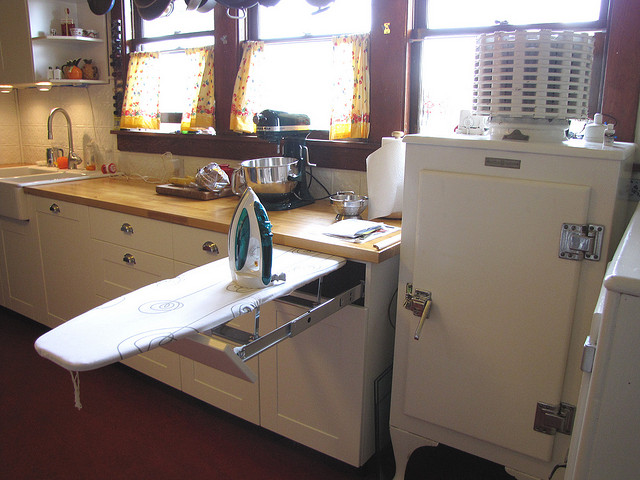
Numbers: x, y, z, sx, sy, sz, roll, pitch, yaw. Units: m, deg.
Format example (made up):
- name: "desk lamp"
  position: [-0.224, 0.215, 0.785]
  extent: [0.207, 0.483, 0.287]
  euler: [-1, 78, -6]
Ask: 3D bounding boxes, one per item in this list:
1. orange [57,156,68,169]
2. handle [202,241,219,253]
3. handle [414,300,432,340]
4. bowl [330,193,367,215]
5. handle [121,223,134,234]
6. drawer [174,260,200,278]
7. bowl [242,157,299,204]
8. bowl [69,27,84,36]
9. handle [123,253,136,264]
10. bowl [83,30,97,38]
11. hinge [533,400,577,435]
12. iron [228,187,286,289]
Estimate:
- name: "orange"
  position: [-2.014, -0.610, 3.786]
  extent: [0.080, 0.080, 0.083]
  euler: [1, 8, -1]
- name: "handle"
  position: [-0.523, 0.035, 2.319]
  extent: [0.088, 0.048, 0.027]
  euler: [16, 18, 26]
- name: "handle"
  position: [0.395, 0.291, 1.825]
  extent: [0.040, 0.026, 0.210]
  euler: [1, 46, 36]
- name: "bowl"
  position: [0.150, -0.194, 2.450]
  extent: [0.175, 0.089, 0.268]
  euler: [4, 18, 7]
- name: "handle"
  position: [-1.054, -0.067, 2.642]
  extent: [0.050, 0.059, 0.015]
  euler: [8, 13, 25]
- name: "drawer"
  position: [-0.691, 0.155, 2.420]
  extent: [0.150, 0.086, 0.146]
  euler: [2, -6, 24]
- name: "bowl"
  position: [-0.260, -0.326, 2.588]
  extent: [0.313, 0.220, 0.282]
  euler: [-1, 20, 10]
- name: "bowl"
  position: [-1.780, -1.535, 3.541]
  extent: [0.083, 0.062, 0.086]
  euler: [1, 18, 0]
- name: "handle"
  position: [-1.048, 0.101, 2.662]
  extent: [0.057, 0.059, 0.014]
  euler: [-8, 5, 31]
- name: "bowl"
  position: [-1.727, -1.560, 3.632]
  extent: [0.085, 0.036, 0.068]
  euler: [3, 18, 0]
- name: "hinge"
  position: [0.842, 0.646, 1.745]
  extent: [0.134, 0.137, 0.059]
  euler: [8, 24, 29]
- name: "iron"
  position: [-0.222, -0.016, 1.710]
  extent: [0.150, 0.350, 0.138]
  euler: [16, 22, 31]
